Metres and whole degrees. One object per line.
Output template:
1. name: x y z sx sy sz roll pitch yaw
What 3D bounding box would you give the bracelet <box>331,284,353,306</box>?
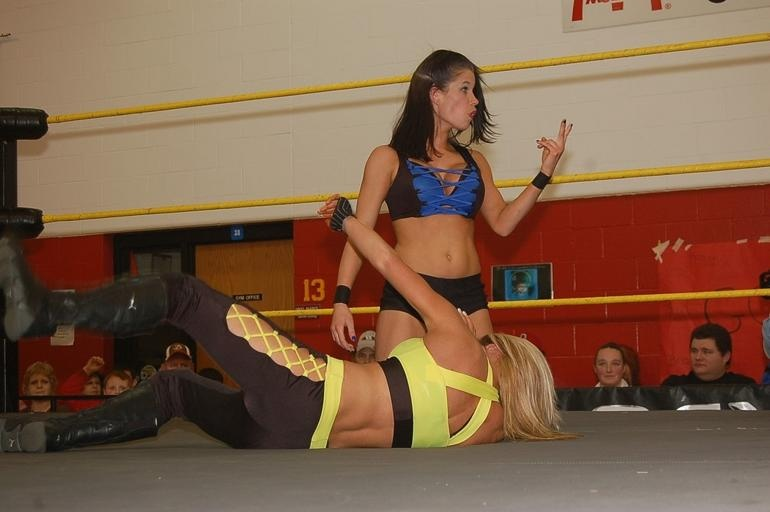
1. bracelet: -0.245 0.213 6.107 0.106 0.105 0.103 -1 -9 14

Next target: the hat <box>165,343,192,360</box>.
1. hat: -1.458 0.662 7.962 0.171 0.135 0.248 1 -21 -15

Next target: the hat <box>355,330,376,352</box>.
1. hat: -0.147 0.612 8.147 0.157 0.213 0.067 2 -6 8
